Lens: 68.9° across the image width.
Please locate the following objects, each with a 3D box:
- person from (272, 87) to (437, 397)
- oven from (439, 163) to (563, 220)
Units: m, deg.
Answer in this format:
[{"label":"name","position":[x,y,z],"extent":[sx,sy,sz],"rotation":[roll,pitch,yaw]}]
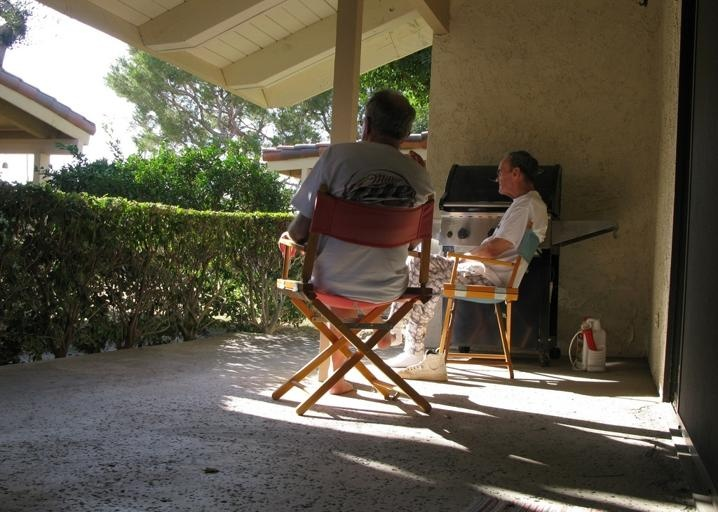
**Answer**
[{"label":"person","position":[-0.023,-0.247,3.358],"extent":[0.731,1.434,0.753],"rotation":[4,3,-9]},{"label":"oven","position":[1.282,-0.597,4.948],"extent":[1.328,0.535,0.699],"rotation":[2,4,24]}]
